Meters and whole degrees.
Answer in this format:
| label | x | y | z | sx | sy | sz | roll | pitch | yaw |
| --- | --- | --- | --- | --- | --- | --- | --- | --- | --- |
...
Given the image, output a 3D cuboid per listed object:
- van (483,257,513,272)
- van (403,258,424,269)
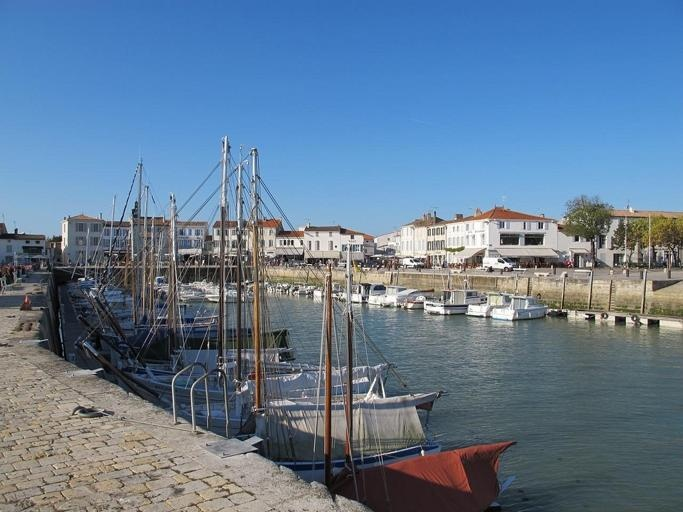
| label | x | y | z | sx | sy | sz | roll | pitch | yaw |
| --- | --- | --- | --- | --- | --- | --- | --- | --- | --- |
| van | 19.683 | 0.987 | 84.267 | 3.171 | 1.656 | 1.622 | -4 | -2 | 35 |
| van | 10.840 | 0.921 | 101.606 | 1.599 | 1.445 | 2.804 | 0 | -4 | -39 |
